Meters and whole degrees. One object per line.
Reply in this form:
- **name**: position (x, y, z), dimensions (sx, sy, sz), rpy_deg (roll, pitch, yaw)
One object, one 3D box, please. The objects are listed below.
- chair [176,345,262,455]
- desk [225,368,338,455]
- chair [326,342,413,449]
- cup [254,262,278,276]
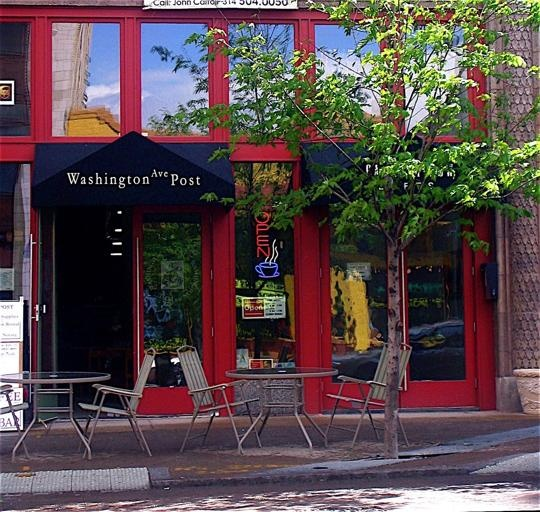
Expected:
- **chair**: position (-0.640, 1.869, 11.668), dimensions (1.098, 1.239, 0.913), rpy_deg (1, -3, 26)
- **desk**: position (0.112, 2.000, 12.444), dimensions (1.651, 0.990, 3.633), rpy_deg (-2, -2, 4)
- **chair**: position (1.187, 1.854, 11.999), dimensions (0.866, 0.968, 0.695), rpy_deg (-5, -8, -35)
- **cup**: position (-0.050, 0.215, 14.065), dimensions (0.292, 0.107, 0.220), rpy_deg (-1, 3, 5)
